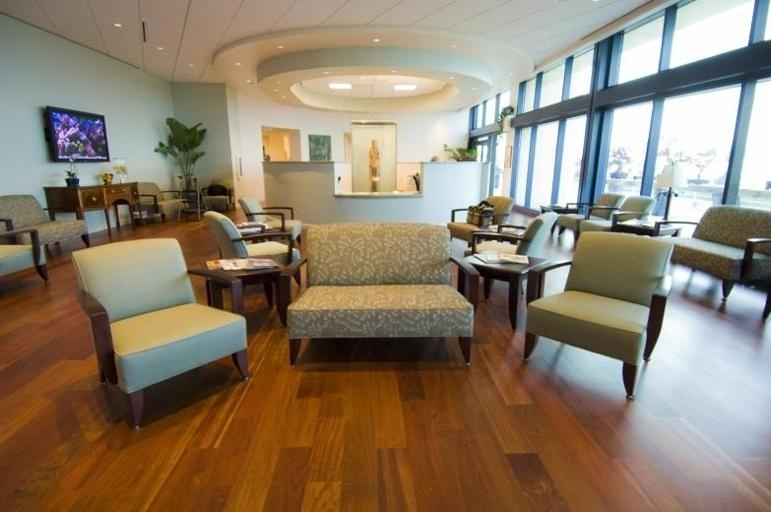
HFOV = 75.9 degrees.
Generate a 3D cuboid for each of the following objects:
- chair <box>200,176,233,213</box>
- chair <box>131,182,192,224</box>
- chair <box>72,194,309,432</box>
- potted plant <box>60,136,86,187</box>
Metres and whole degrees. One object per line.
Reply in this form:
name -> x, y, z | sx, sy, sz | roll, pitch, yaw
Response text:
chair -> -4.106, -1.546, 12.270 | 0.779, 0.941, 0.866 | -1, 9, -13
chair -> -5.008, -1.298, 10.987 | 0.909, 0.975, 1.253 | 2, 9, 6
chair -> -2.136, 0.456, 5.024 | 1.832, 1.559, 1.607 | 18, 21, 41
potted plant -> -5.562, -1.753, 8.841 | 0.345, 0.821, 0.865 | -8, 16, -28
